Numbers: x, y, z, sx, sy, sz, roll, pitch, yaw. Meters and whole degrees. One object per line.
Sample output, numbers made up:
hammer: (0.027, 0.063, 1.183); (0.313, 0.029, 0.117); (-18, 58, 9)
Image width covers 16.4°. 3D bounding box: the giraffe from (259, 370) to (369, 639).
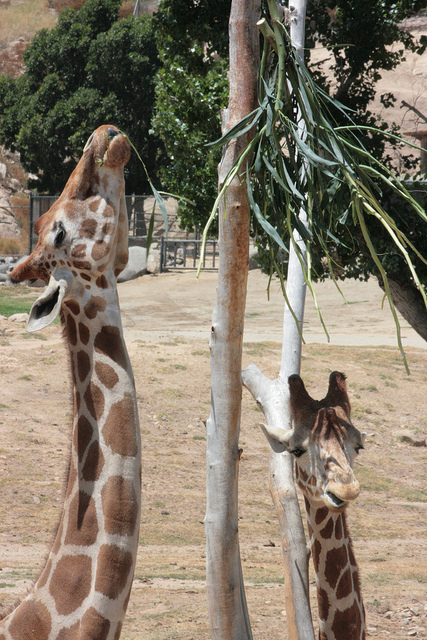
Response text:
giraffe: (0.838, 1.507, 11.420); (0.802, 2.197, 1.026); (5, 8, 8)
